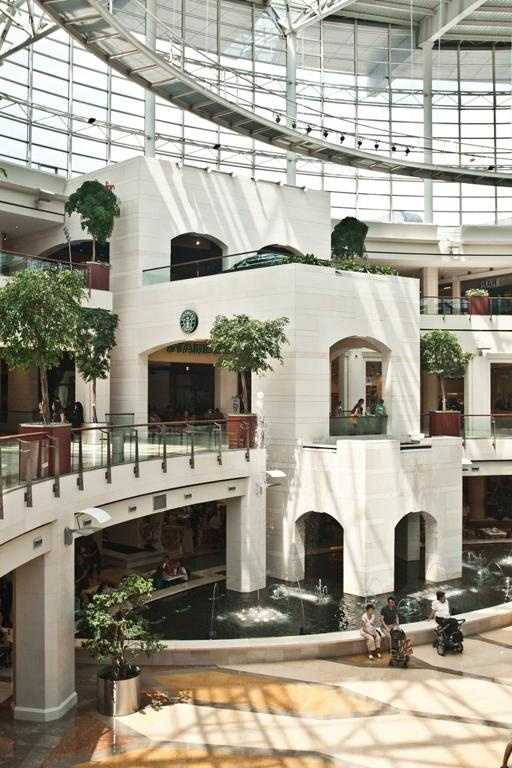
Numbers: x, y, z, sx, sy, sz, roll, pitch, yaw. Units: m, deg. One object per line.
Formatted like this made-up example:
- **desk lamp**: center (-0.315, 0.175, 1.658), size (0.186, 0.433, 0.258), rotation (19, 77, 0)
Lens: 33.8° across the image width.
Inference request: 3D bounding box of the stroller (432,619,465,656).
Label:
- **stroller**: center (3.761, 4.918, 16.379), size (0.446, 0.607, 0.674), rotation (1, 1, -8)

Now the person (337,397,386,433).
- **person**: center (3.197, 1.040, 24.620), size (0.249, 0.942, 2.164), rotation (1, 1, 39)

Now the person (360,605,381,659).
- **person**: center (2.188, 4.744, 16.107), size (0.377, 0.981, 0.536), rotation (1, 1, 7)

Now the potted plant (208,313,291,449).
- **potted plant**: center (-0.437, -0.504, 22.463), size (2.471, 2.774, 2.718), rotation (1, 1, 29)

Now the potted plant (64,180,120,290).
- **potted plant**: center (-5.269, -4.902, 27.492), size (1.626, 3.328, 1.918), rotation (13, 19, 32)

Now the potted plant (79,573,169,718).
- **potted plant**: center (-2.237, 4.195, 14.077), size (1.168, 1.999, 2.075), rotation (0, 1, -6)

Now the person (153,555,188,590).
- **person**: center (-2.376, 4.895, 21.746), size (0.812, 0.855, 0.633), rotation (-8, -2, 39)

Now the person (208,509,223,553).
- **person**: center (-1.254, 4.566, 26.572), size (0.502, 1.160, 1.314), rotation (0, 1, -4)

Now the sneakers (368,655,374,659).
- **sneakers**: center (2.167, 5.170, 15.909), size (0.099, 0.097, 0.127), rotation (1, 1, 7)

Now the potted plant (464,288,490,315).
- **potted plant**: center (8.260, -3.087, 31.615), size (0.982, 1.061, 0.849), rotation (0, -3, 0)

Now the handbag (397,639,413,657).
- **handbag**: center (2.749, 4.893, 15.552), size (0.254, 0.289, 0.102), rotation (1, -31, 14)
